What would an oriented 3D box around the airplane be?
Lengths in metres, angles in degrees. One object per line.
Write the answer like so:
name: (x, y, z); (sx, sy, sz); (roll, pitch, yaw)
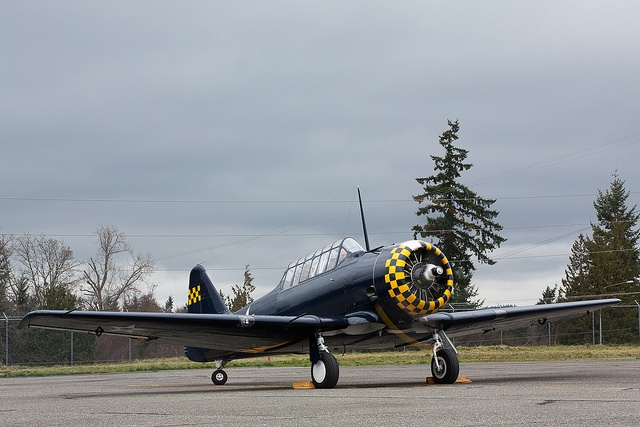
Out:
airplane: (0.350, 3.684, 32.506); (17.687, 5.418, 3.611); (-2, -8, -3)
